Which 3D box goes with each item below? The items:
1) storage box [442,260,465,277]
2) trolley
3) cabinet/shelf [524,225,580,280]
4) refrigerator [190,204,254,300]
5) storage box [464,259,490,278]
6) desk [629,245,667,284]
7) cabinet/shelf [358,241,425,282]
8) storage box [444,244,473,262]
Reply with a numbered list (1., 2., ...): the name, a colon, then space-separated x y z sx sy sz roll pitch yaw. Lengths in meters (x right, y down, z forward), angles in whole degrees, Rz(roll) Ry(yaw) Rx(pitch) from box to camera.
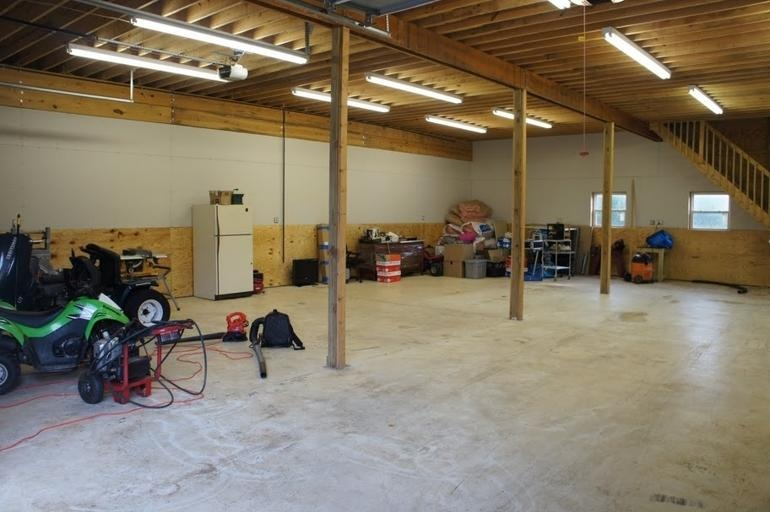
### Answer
1. storage box: 1.924 0.362 14.793 0.499 0.348 0.489 0 0 28
2. trolley: -2.645 1.176 5.860 1.385 0.801 0.770 -3 -2 13
3. cabinet/shelf: 4.758 -0.062 14.843 0.840 1.372 1.515 -6 8 -40
4. refrigerator: -3.404 -0.083 10.887 1.233 1.936 0.731 -1 10 -7
5. storage box: 2.565 0.367 14.656 0.536 0.400 0.574 0 -1 40
6. desk: 7.008 0.180 13.984 1.057 1.169 1.000 -6 -16 29
7. cabinet/shelf: 0.141 0.084 14.110 1.772 1.069 1.091 -1 10 -10
8. storage box: 2.044 -0.091 14.904 0.558 0.319 0.538 0 2 28
